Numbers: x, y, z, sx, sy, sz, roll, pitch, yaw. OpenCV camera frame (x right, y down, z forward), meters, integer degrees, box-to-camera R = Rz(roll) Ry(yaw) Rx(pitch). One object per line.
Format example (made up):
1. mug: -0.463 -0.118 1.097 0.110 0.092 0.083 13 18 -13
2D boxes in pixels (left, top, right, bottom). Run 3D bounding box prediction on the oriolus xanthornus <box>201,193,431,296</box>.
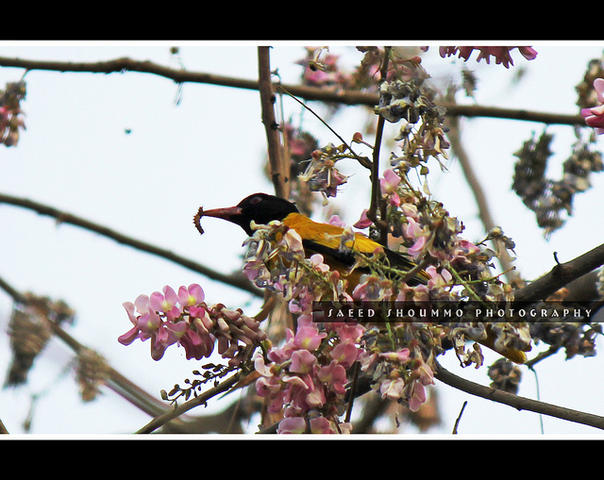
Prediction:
1. oriolus xanthornus: 0.004 0.036 6.444 1.113 0.442 0.308 9 -26 -28
